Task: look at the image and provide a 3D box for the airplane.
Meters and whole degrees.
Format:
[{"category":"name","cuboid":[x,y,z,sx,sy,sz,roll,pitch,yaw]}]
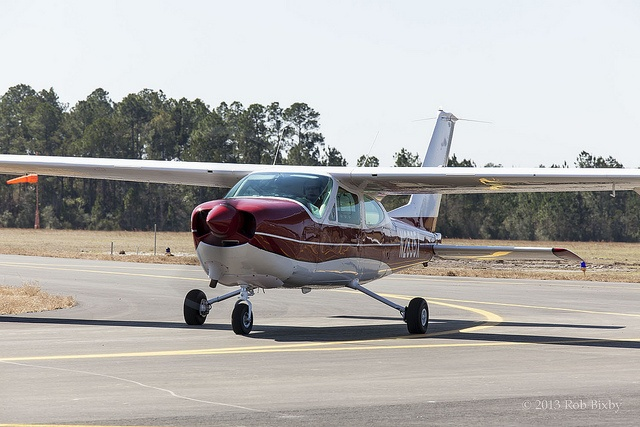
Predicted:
[{"category":"airplane","cuboid":[0.171,0.573,17.683,11.818,4.372,5.333,0,0,-7]}]
